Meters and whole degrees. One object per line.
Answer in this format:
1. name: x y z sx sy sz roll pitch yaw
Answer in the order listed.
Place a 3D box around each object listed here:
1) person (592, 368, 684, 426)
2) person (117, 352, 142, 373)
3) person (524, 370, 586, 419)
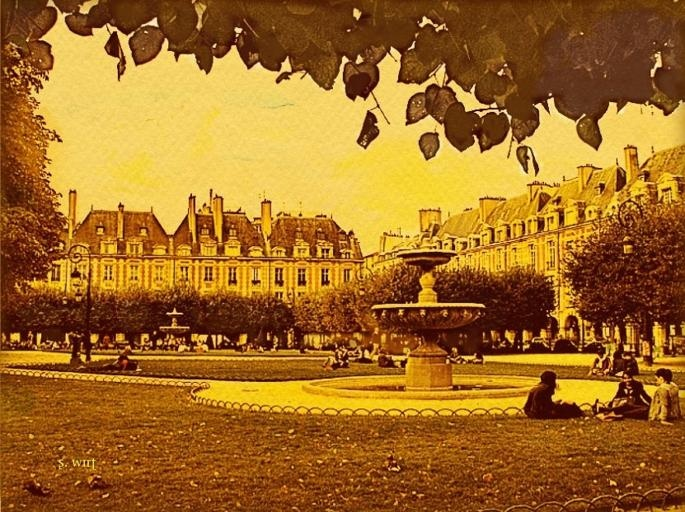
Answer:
1. person: 5.269 2.455 16.072 1.201 0.911 1.588 9 -12 -38
2. person: -6.923 3.419 29.190 0.611 0.559 1.457 -1 -10 15
3. person: 3.730 2.450 16.468 1.020 1.053 0.711 -2 1 -10
